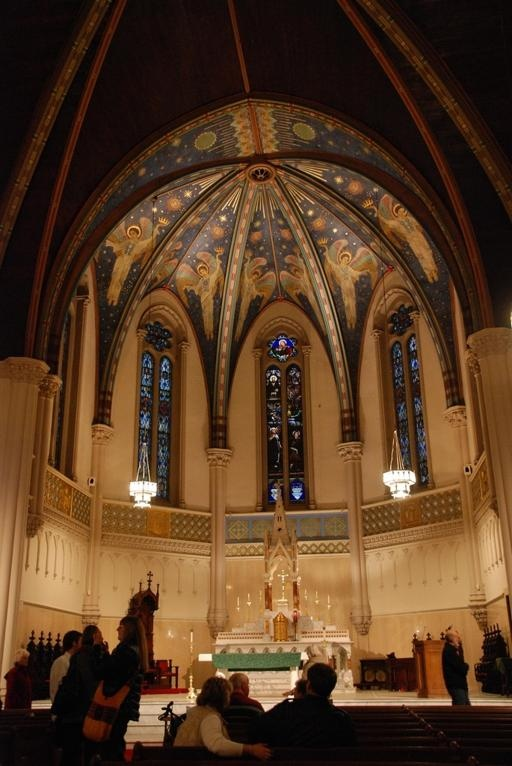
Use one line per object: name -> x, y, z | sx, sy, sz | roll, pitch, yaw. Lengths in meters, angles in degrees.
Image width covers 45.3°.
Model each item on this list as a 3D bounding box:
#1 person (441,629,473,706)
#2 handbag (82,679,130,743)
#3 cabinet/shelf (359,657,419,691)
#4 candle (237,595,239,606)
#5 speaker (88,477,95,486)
person -> 2.201, 3.211, 6.807 | 0.276, 0.824, 1.349 | -8, -21, 14
handbag -> -0.776, 1.737, 3.219 | 0.216, 0.330, 0.189 | 12, -24, -10
cabinet/shelf -> 3.384, 7.693, 16.260 | 0.997, 0.874, 2.352 | -1, -21, -6
candle -> -0.558, 6.892, 19.332 | 0.076, 0.246, 0.030 | -2, -20, -2
speaker -> -4.651, 2.818, 17.439 | 0.198, 0.298, 0.212 | 1, -11, -14
